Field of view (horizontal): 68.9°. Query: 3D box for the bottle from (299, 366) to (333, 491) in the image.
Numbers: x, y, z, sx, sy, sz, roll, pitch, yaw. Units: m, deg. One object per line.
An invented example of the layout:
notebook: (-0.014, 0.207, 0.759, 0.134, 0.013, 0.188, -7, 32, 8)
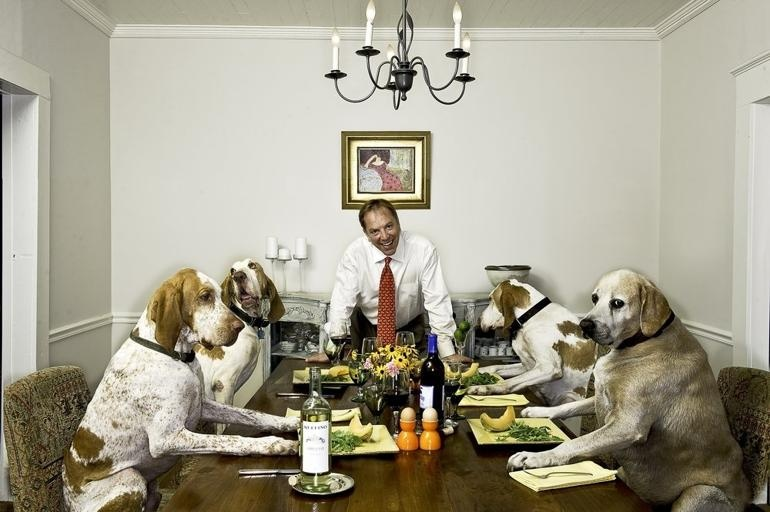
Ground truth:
bottle: (-0.300, 0.724, 2.385, 0.142, 0.502, 0.172, -1, 2, -9)

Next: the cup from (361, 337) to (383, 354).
cup: (-0.071, 0.474, 2.988, 0.078, 0.084, 0.082, 0, -5, 0)

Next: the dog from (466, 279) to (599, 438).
dog: (1.187, 0.570, 3.780, 1.315, 0.674, 0.453, 6, 1, -22)

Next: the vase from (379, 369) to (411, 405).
vase: (0.056, 0.627, 2.677, 0.140, 0.243, 0.149, 1, -12, 0)

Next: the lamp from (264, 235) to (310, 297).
lamp: (-0.900, 0.080, 5.077, 0.492, 0.637, 0.196, 0, 3, 1)

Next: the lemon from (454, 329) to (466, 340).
lemon: (0.459, 0.472, 3.415, 0.055, 0.072, 0.056, -3, 3, -30)

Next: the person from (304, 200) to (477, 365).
person: (0.047, 0.113, 4.324, 1.193, 1.770, 0.985, -1, 10, -3)

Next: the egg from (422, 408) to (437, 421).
egg: (0.210, 0.741, 2.617, 0.056, 0.071, 0.056, -4, 14, -29)

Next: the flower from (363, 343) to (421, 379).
flower: (0.050, 0.511, 2.794, 0.172, 0.088, 0.177, 0, 1, -16)

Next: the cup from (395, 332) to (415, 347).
cup: (0.113, 0.427, 2.924, 0.077, 0.084, 0.082, 0, -3, 0)

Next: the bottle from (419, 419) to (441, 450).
bottle: (0.210, 0.849, 2.679, 0.113, 0.141, 0.122, 0, -7, 2)

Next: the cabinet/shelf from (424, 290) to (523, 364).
cabinet/shelf: (0.768, 0.606, 4.768, 0.579, 0.874, 0.840, -3, -5, 29)

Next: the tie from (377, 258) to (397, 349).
tie: (0.012, 0.292, 3.914, 0.117, 0.578, 0.243, -1, 2, -2)

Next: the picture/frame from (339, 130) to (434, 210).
picture/frame: (0.003, -0.830, 5.186, 0.809, 0.760, 0.066, 0, 0, -1)

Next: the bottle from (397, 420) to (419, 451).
bottle: (0.107, 0.829, 2.612, 0.111, 0.137, 0.119, 1, -7, -10)

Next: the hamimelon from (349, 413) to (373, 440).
hamimelon: (-0.117, 0.811, 2.665, 0.092, 0.082, 0.115, -23, 20, -29)

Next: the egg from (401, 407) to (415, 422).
egg: (0.108, 0.732, 2.641, 0.054, 0.070, 0.056, 14, 10, 38)
